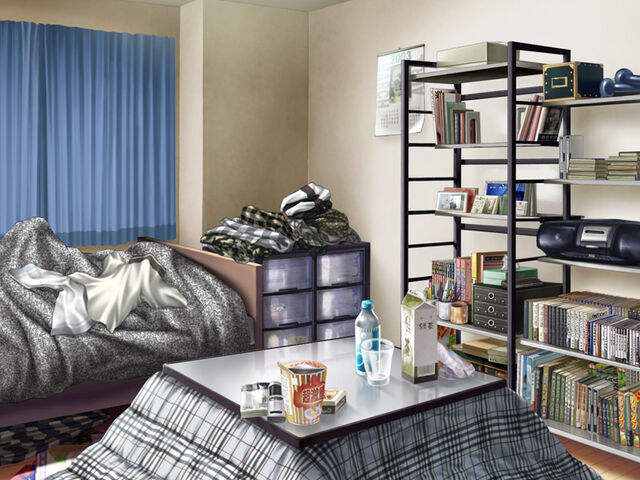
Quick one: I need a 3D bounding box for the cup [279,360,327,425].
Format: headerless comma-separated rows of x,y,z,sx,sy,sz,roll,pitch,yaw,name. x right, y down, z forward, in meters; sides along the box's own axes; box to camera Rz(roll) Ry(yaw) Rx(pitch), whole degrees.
-0.047,0.442,1.472,0.140,0.157,0.139,-1,1,0,cup

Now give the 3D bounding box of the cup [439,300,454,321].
0.798,0.458,3.170,0.101,0.107,0.095,0,1,0,cup

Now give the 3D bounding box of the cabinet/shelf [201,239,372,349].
-0.289,0.363,3.401,0.677,0.668,0.248,-4,8,-27,cabinet/shelf

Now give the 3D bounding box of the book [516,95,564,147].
1.238,-0.615,2.885,0.248,0.345,0.327,7,4,36,book

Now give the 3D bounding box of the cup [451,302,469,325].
0.871,0.469,3.162,0.124,0.117,0.097,-1,0,-6,cup

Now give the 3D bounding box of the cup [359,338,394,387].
0.182,0.418,1.722,0.122,0.144,0.130,0,3,0,cup
